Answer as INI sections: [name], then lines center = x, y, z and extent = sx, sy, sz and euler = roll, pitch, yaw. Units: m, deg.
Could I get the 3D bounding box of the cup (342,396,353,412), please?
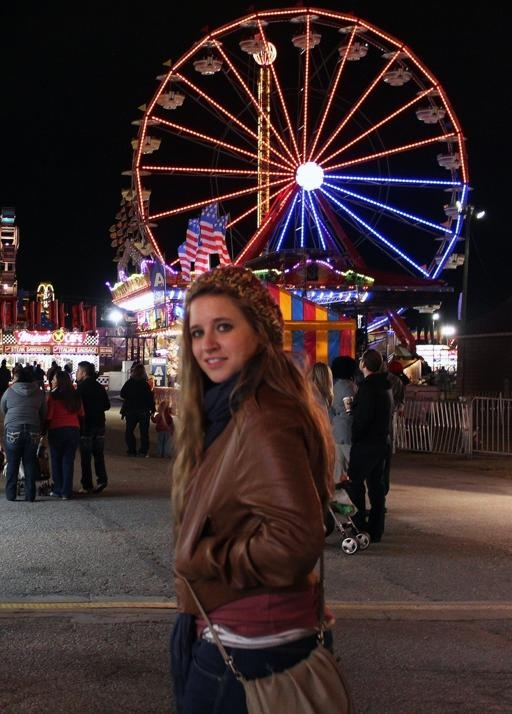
[cup]
center = 1.132, 0.571, 7.621
extent = 0.153, 0.219, 0.171
euler = -1, 1, 10

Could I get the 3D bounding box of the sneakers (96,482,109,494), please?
[sneakers]
center = -2.494, 2.090, 10.078
extent = 0.082, 0.223, 0.081
euler = 6, -6, 41
